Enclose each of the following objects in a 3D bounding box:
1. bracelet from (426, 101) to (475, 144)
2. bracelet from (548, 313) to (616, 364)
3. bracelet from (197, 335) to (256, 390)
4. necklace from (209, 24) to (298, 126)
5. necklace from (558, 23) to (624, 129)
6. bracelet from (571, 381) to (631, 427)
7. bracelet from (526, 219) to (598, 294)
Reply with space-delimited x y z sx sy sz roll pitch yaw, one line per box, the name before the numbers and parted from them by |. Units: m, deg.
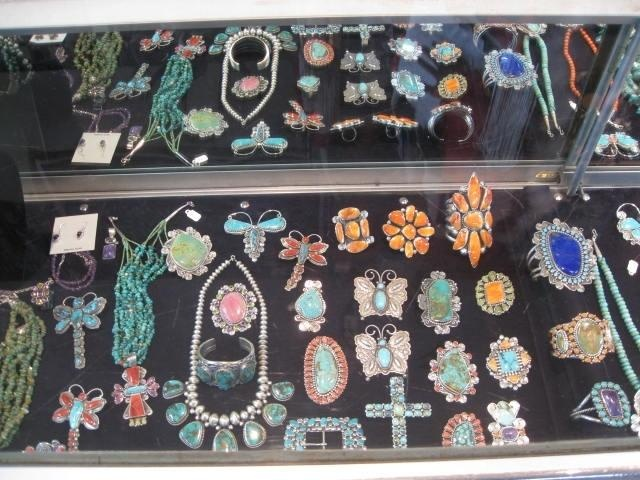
bracelet | 0.392 -0.355 1.938 0.136 0.065 0.138 5 38 8
bracelet | 0.675 0.250 1.628 0.103 0.130 0.079 8 77 -1
bracelet | -0.234 0.316 1.663 0.152 0.063 0.118 -2 37 -2
necklace | -0.195 -0.501 2.001 0.296 0.046 0.407 -2 60 6
necklace | 0.737 -0.462 1.776 0.019 0.269 0.088 -18 48 -32
bracelet | 0.686 0.415 1.596 0.116 0.036 0.090 -14 62 -6
bracelet | 0.649 0.050 1.775 0.162 0.046 0.176 -22 73 -22
